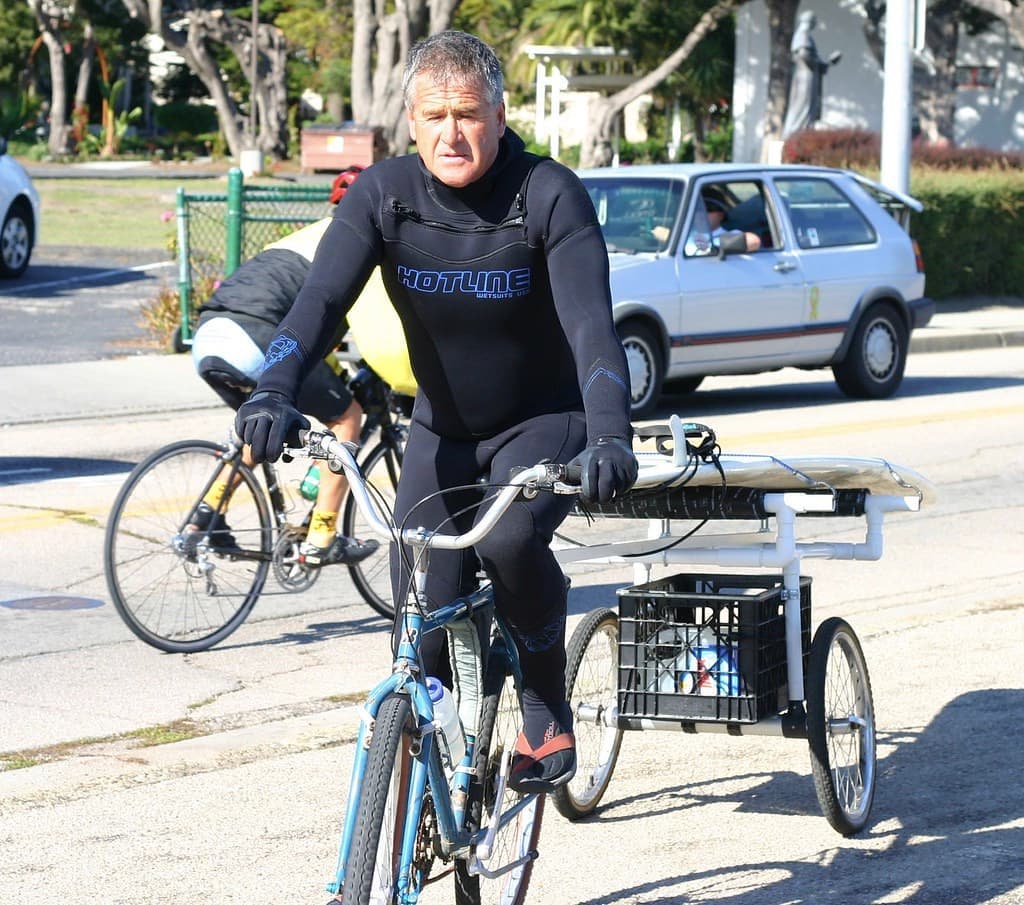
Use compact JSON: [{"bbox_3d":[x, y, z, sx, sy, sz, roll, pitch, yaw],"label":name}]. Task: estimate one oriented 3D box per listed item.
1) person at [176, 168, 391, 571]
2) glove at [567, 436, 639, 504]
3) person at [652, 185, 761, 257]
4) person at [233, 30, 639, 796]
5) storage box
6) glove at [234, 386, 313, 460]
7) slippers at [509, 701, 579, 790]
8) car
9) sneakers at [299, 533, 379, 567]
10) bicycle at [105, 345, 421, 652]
[{"bbox_3d":[-0.885,-0.380,7.747,1.175,1.851,0.751,2,-9,-12],"label":"person"},{"bbox_3d":[0.207,0.038,3.940,0.116,0.068,0.157,-17,8,26],"label":"glove"},{"bbox_3d":[1.733,-1.874,13.802,0.558,0.533,0.945,3,10,12],"label":"person"},{"bbox_3d":[-0.147,-0.079,4.541,0.939,2.008,1.159,-3,3,4],"label":"person"},{"bbox_3d":[0.619,0.598,5.351,0.472,0.332,0.494,0,0,17],"label":"storage box"},{"bbox_3d":[-0.597,-0.117,4.151,0.154,0.104,0.218,-3,41,1],"label":"glove"},{"bbox_3d":[0.097,0.799,4.639,0.189,0.121,0.293,1,33,21],"label":"slippers"},{"bbox_3d":[1.926,-1.360,14.488,3.092,1.514,1.808,-3,0,-38],"label":"car"},{"bbox_3d":[-0.737,0.399,7.387,0.343,0.169,0.126,-8,8,-26],"label":"sneakers"},{"bbox_3d":[-0.871,0.346,7.312,1.687,1.121,0.828,-11,16,-41],"label":"bicycle"}]
